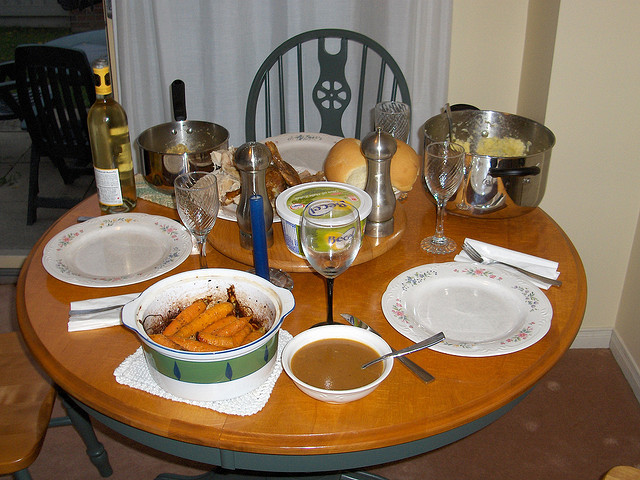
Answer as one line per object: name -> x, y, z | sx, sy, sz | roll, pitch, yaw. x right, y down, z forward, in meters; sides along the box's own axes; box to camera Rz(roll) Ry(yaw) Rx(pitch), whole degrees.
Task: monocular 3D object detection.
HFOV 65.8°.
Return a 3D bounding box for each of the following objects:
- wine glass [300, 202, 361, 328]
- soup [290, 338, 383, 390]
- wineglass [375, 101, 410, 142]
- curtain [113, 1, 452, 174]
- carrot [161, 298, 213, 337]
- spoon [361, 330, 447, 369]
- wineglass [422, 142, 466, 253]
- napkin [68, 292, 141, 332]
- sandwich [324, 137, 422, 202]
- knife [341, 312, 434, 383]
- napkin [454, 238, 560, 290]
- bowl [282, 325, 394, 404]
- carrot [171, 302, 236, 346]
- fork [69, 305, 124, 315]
wine glass -> 0.019, 0.053, 0.967 | 0.110, 0.229, 0.224 | -1, 25, -3
soup -> 0.023, 0.210, 0.858 | 0.140, 0.065, 0.127 | -1, 20, -2
wineglass -> 0.222, -0.370, 1.536 | 0.106, 0.099, 0.192 | 4, 26, 8
curtain -> -0.314, -0.779, 2.437 | 1.359, 0.860, 0.640 | -4, 28, -9
carrot -> -0.246, 0.142, 0.895 | 0.030, 0.030, 0.122 | 1, 23, 18
spoon -> 0.154, 0.201, 0.903 | 0.132, 0.017, 0.023 | -21, 42, -10
wineglass -> 0.297, -0.107, 1.212 | 0.086, 0.260, 0.094 | -4, 19, -8
napkin -> -0.438, 0.153, 1.016 | 0.144, 0.020, 0.093 | -8, 55, -12
sandwich -> 0.123, -0.191, 1.301 | 0.172, 0.093, 0.177 | 0, 35, -11
knife -> 0.124, 0.200, 0.904 | 0.022, 0.016, 0.193 | -33, 47, -28
napkin -> 0.415, 0.041, 1.144 | 0.233, 0.038, 0.098 | 18, 44, 19
bowl -> 0.023, 0.219, 0.854 | 0.200, 0.074, 0.216 | 1, 17, 0
carrot -> -0.228, 0.146, 0.925 | 0.169, 0.044, 0.041 | -20, -11, 32
fork -> -0.449, 0.139, 0.993 | 0.114, 0.013, 0.022 | 5, 30, 13
